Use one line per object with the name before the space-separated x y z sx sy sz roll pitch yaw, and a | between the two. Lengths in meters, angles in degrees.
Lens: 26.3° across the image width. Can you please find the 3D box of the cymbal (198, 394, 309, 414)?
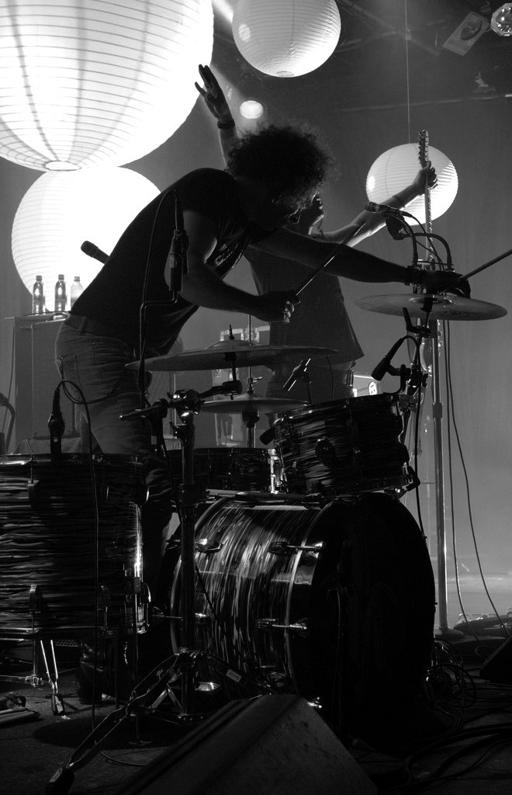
cymbal | -0.023 0.027 3.858 0.162 0.036 0.162 -9 -8 30

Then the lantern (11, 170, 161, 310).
lantern | -0.923 -0.813 6.070 0.806 0.866 0.777 0 3 2

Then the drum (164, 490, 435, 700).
drum | 0.208 0.533 3.041 0.730 0.687 0.526 16 -13 -41

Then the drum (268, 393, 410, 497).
drum | 0.232 0.158 2.972 0.289 0.192 0.291 -10 -8 -1
